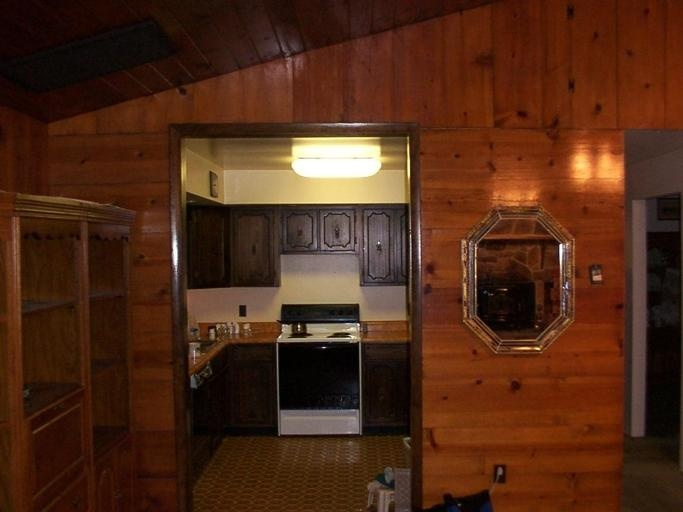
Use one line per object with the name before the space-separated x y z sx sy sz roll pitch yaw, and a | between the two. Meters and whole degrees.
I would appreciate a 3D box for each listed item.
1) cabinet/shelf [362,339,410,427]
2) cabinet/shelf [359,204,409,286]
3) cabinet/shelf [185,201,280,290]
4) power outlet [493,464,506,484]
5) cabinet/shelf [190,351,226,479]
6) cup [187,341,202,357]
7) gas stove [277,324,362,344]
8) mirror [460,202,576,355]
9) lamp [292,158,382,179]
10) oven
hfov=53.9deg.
cabinet/shelf | 0.359 1.101 5.662 0.371 0.746 0.125 0 9 3
cabinet/shelf | 0.449 -0.144 6.161 0.588 0.861 0.434 -4 26 -4
cabinet/shelf | -0.967 -0.116 5.868 0.788 0.726 0.301 1 -2 -19
power outlet | 0.910 1.245 3.859 0.084 0.094 0.023 2 -1 -4
cabinet/shelf | -1.018 1.201 5.072 0.296 0.740 0.901 -1 0 -5
cup | -1.138 0.716 5.207 0.092 0.093 0.091 1 -3 0
gas stove | -0.195 0.673 5.918 0.716 0.073 0.524 0 9 0
mirror | 1.011 0.141 3.861 0.686 0.885 0.053 -3 -7 38
lamp | -0.053 -0.706 5.353 0.667 0.158 0.602 -1 9 -5
oven | -0.130 1.155 5.936 0.747 0.776 0.580 -2 -5 12
